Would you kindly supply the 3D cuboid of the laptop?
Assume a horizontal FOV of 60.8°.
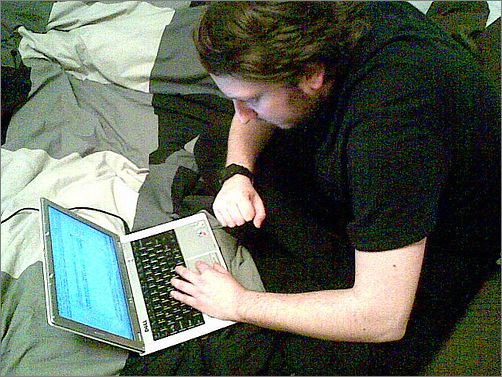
[{"bbox_3d":[-0.339,0.282,1.230,0.359,0.493,0.403,-35,56,14],"label":"laptop"}]
